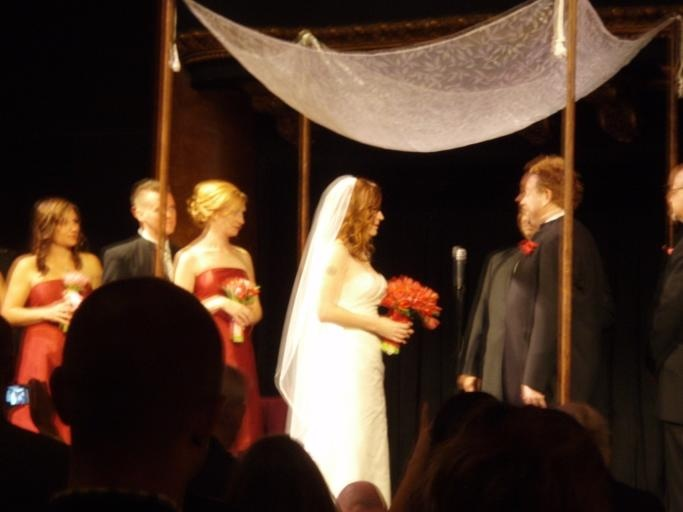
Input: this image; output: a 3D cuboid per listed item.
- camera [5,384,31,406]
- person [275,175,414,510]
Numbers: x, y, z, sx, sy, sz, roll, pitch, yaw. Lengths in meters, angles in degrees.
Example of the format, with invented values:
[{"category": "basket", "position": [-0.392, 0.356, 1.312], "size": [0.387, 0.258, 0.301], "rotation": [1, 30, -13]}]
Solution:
[{"category": "camera", "position": [-1.797, 0.776, 4.528], "size": [0.115, 0.131, 0.209], "rotation": [8, -7, -24]}, {"category": "person", "position": [0.012, 0.436, 4.587], "size": [0.716, 1.836, 0.277], "rotation": [6, -6, -9]}]
